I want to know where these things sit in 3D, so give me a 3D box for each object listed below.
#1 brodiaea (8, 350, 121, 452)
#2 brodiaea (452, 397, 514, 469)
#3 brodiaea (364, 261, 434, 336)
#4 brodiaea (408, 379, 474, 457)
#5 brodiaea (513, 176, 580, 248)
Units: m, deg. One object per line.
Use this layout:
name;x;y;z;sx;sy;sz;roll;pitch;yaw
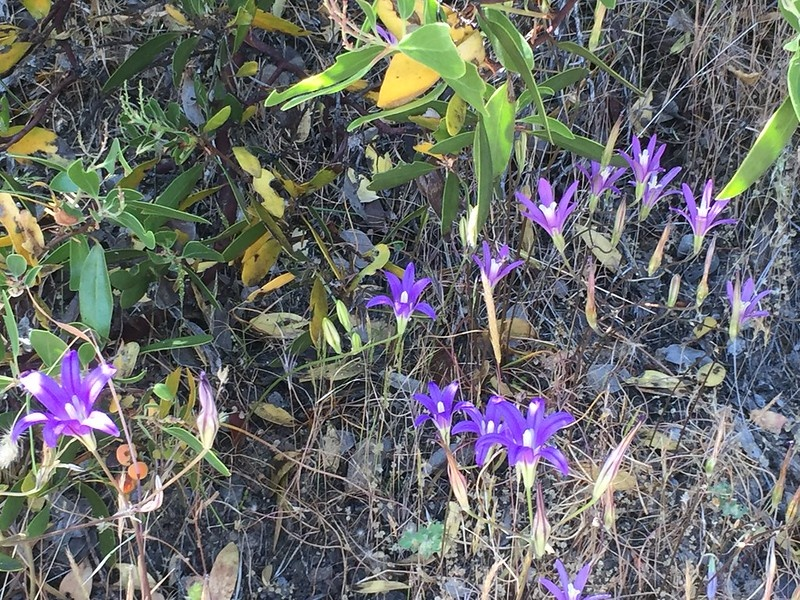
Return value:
brodiaea;-0.489;0.112;1.041;0.136;0.163;0.064;-9;3;-6
brodiaea;0.136;0.238;1.230;0.108;0.051;0.127;14;61;25
brodiaea;0.009;0.013;1.407;0.101;0.162;0.114;-3;2;35
brodiaea;0.068;0.184;1.318;0.114;0.171;0.124;-3;18;-4
brodiaea;0.302;-0.149;1.433;0.106;0.203;0.079;-5;56;21
